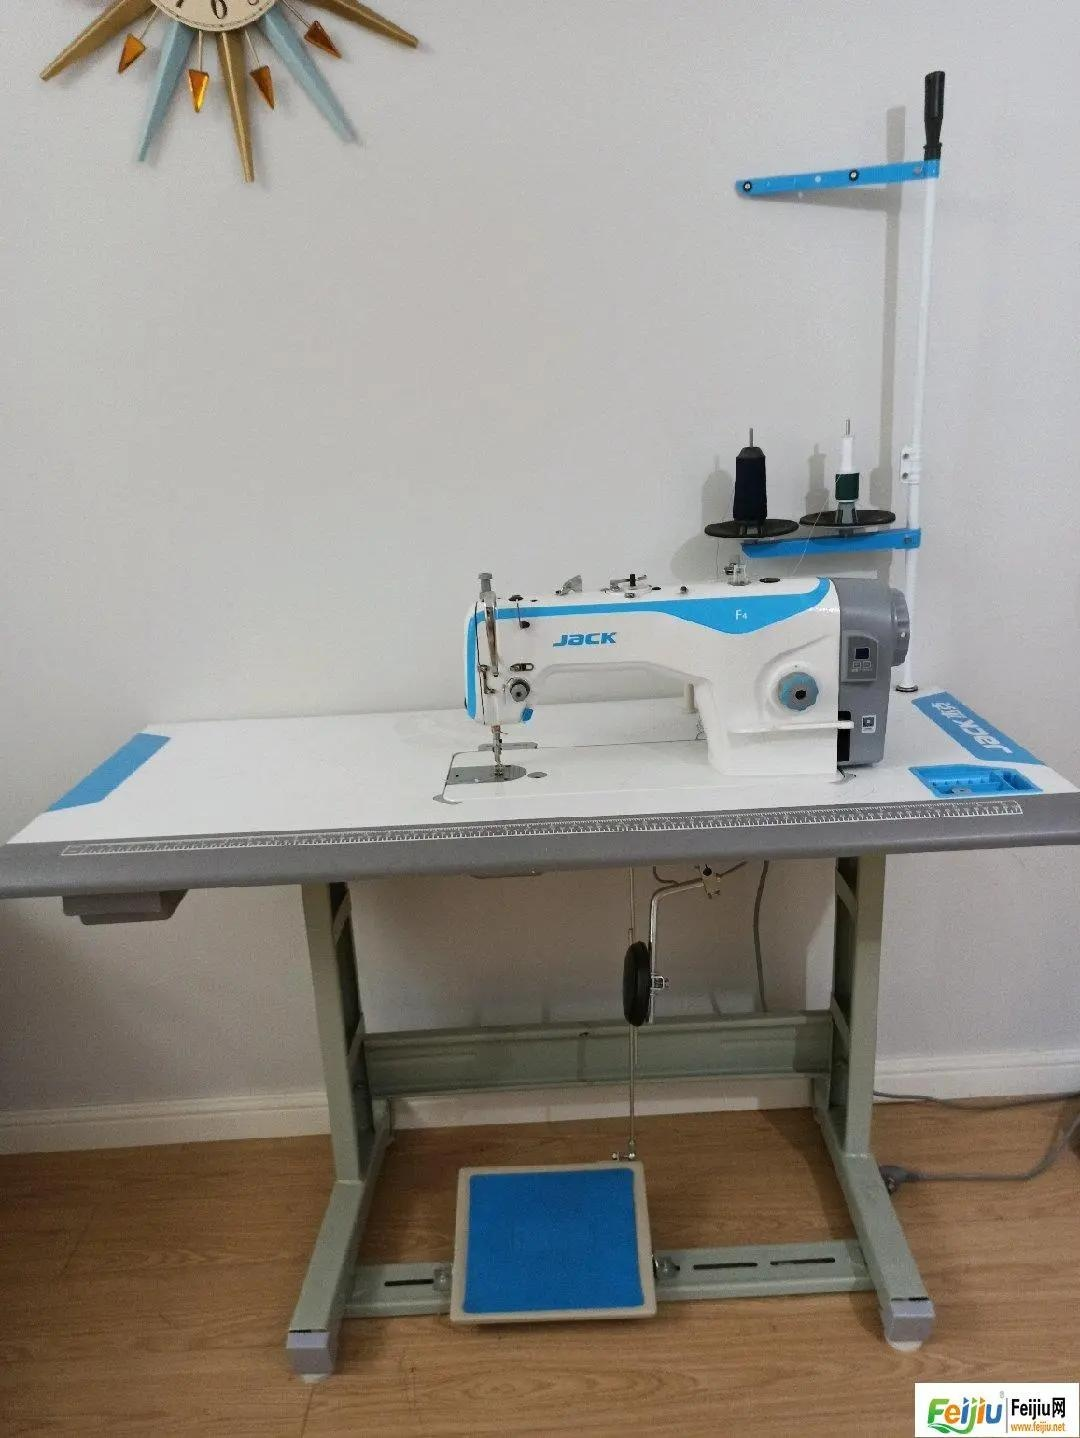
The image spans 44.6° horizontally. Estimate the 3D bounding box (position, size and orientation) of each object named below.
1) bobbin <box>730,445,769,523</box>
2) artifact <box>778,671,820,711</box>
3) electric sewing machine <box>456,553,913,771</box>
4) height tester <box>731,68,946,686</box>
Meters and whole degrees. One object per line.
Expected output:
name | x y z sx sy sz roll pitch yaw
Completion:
bobbin | 0.335 -0.372 2.106 0.046 0.121 0.042 -24 31 -37
artifact | 0.373 -0.039 1.915 0.059 0.056 0.021 0 25 8
electric sewing machine | 0.221 -0.085 1.967 0.657 0.325 0.184 -2 24 3
height tester | 0.519 -0.489 2.210 0.226 1.062 0.208 -1 21 -5
